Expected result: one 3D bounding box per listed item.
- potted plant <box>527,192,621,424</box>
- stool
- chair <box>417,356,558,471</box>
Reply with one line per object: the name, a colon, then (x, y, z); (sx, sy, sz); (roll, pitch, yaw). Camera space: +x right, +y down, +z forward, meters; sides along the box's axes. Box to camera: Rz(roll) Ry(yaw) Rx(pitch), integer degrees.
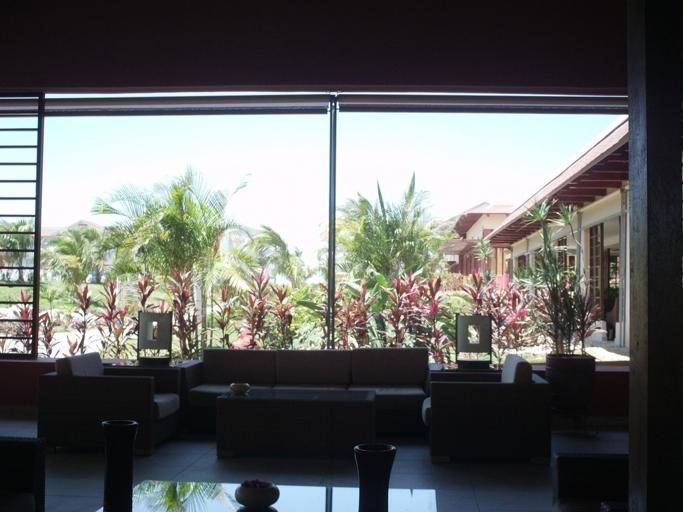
potted plant: (2.376, 0.442, 6.395); (0.735, 2.485, 1.495); (-2, -8, 13)
stool: (1.419, 1.277, 3.432); (0.388, 0.319, 0.180); (-4, -9, 26)
chair: (1.193, 1.297, 4.831); (0.779, 0.643, 0.917); (0, -12, 7)
